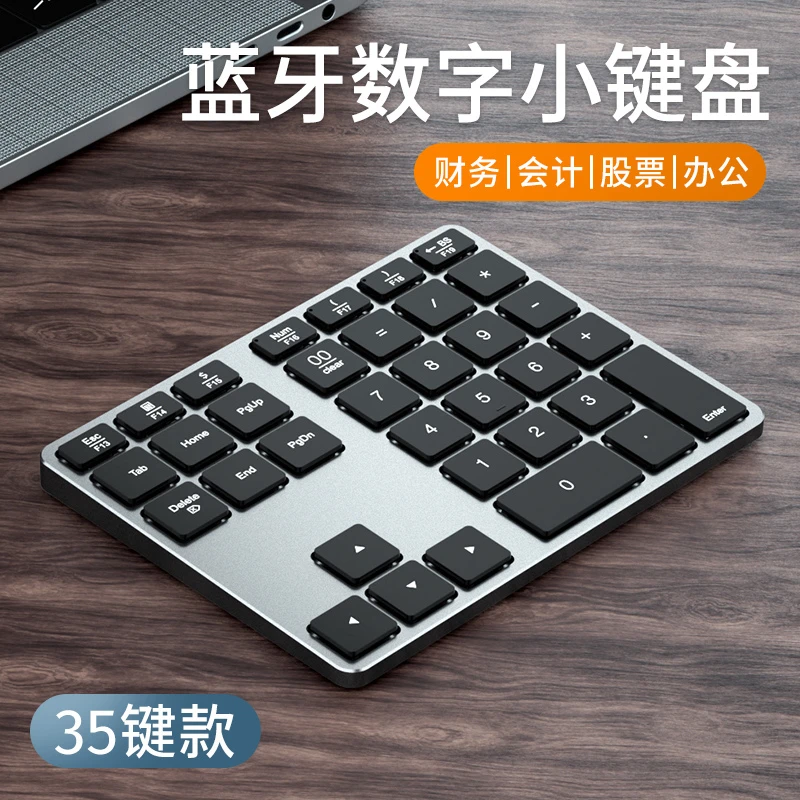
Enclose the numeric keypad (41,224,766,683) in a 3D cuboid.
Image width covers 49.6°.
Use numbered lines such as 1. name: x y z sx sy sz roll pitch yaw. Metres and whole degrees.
1. numeric keypad: 0.005 0.013 0.471 0.309 0.106 0.219 -25 35 -32
